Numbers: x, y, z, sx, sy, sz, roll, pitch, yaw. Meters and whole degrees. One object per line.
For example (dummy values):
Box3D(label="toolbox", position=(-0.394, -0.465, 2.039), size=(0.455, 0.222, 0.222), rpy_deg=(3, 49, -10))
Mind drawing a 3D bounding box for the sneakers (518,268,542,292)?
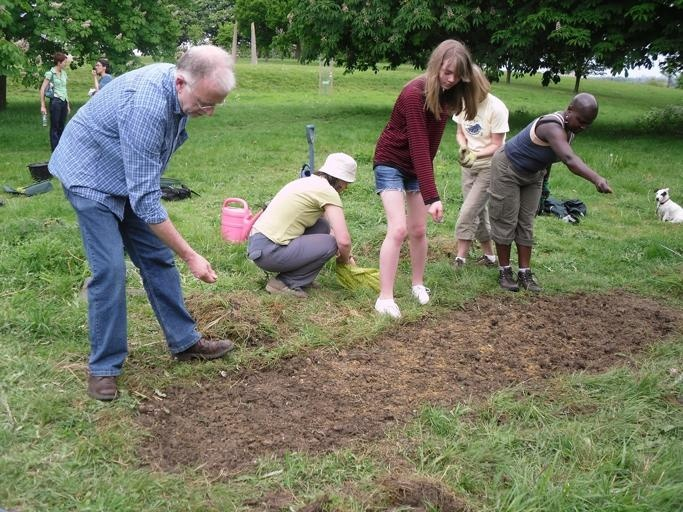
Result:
Box3D(label="sneakers", position=(1.950, 0.250, 7.363), size=(0.123, 0.137, 0.344), rpy_deg=(-9, 16, -13))

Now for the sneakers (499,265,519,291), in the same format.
Box3D(label="sneakers", position=(1.735, 0.247, 7.367), size=(0.132, 0.144, 0.335), rpy_deg=(-3, 8, -3))

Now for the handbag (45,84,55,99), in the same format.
Box3D(label="handbag", position=(-5.265, -2.986, 12.897), size=(0.168, 0.259, 0.278), rpy_deg=(4, -1, -40))

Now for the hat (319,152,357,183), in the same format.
Box3D(label="hat", position=(-0.020, -0.877, 6.985), size=(0.343, 0.173, 0.282), rpy_deg=(23, 17, -20))

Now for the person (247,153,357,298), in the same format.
Box3D(label="person", position=(-0.385, -0.329, 7.127), size=(1.055, 1.406, 0.488), rpy_deg=(3, 12, 0))

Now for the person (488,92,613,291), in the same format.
Box3D(label="person", position=(1.934, -0.611, 7.099), size=(0.522, 1.984, 1.217), rpy_deg=(-6, 15, -35))

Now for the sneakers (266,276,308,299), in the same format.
Box3D(label="sneakers", position=(-0.569, 0.305, 7.173), size=(0.462, 0.178, 0.155), rpy_deg=(12, 3, 3))

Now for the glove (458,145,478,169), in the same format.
Box3D(label="glove", position=(1.293, -0.999, 7.261), size=(0.186, 0.086, 0.233), rpy_deg=(10, 19, 17))

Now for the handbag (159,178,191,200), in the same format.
Box3D(label="handbag", position=(-2.396, -0.940, 10.283), size=(0.563, 0.242, 0.661), rpy_deg=(5, 12, -18))

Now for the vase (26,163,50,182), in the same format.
Box3D(label="vase", position=(-4.646, -1.305, 11.014), size=(0.326, 0.282, 0.699), rpy_deg=(-3, 13, -25))

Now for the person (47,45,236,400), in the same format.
Box3D(label="person", position=(-1.530, -0.253, 5.528), size=(1.289, 2.716, 0.687), rpy_deg=(-2, 13, -21))

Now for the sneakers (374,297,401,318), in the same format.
Box3D(label="sneakers", position=(0.437, 0.483, 6.711), size=(0.137, 0.093, 0.242), rpy_deg=(-9, 19, -30))

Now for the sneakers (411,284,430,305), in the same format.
Box3D(label="sneakers", position=(0.787, 0.376, 7.031), size=(0.124, 0.085, 0.218), rpy_deg=(-7, 31, -7))

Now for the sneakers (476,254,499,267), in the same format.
Box3D(label="sneakers", position=(1.621, 0.055, 7.975), size=(0.260, 0.096, 0.093), rpy_deg=(2, 7, -10))

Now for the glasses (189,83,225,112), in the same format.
Box3D(label="glasses", position=(-0.977, -1.156, 5.314), size=(0.183, 0.150, 0.219), rpy_deg=(-2, 39, -48))
